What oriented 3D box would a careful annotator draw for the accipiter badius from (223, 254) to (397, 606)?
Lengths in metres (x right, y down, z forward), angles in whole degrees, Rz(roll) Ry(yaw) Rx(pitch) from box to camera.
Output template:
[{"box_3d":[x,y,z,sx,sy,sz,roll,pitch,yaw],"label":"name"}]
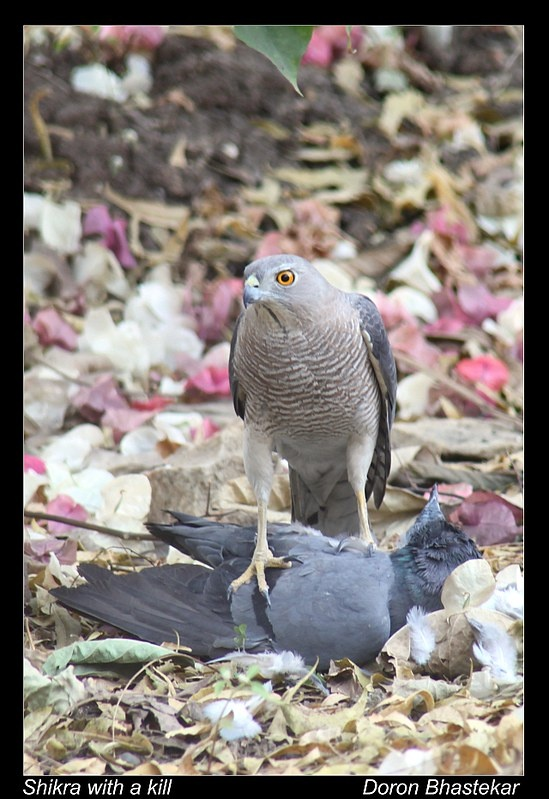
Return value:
[{"box_3d":[0.090,0.015,1.799,0.285,0.553,0.592,1,6,16],"label":"accipiter badius"}]
